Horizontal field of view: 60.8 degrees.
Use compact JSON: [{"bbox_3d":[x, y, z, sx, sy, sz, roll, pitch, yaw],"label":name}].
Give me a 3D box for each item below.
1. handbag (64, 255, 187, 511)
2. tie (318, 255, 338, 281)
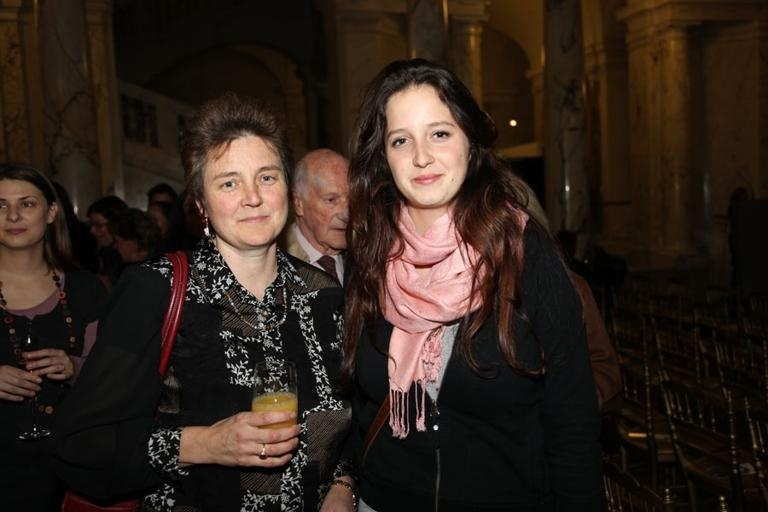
[{"bbox_3d":[-1.134,0.565,2.896,0.546,1.147,0.189,-2,3,-19],"label":"handbag"},{"bbox_3d":[-0.341,0.075,3.926,0.035,0.144,0.038,-30,11,8],"label":"tie"}]
